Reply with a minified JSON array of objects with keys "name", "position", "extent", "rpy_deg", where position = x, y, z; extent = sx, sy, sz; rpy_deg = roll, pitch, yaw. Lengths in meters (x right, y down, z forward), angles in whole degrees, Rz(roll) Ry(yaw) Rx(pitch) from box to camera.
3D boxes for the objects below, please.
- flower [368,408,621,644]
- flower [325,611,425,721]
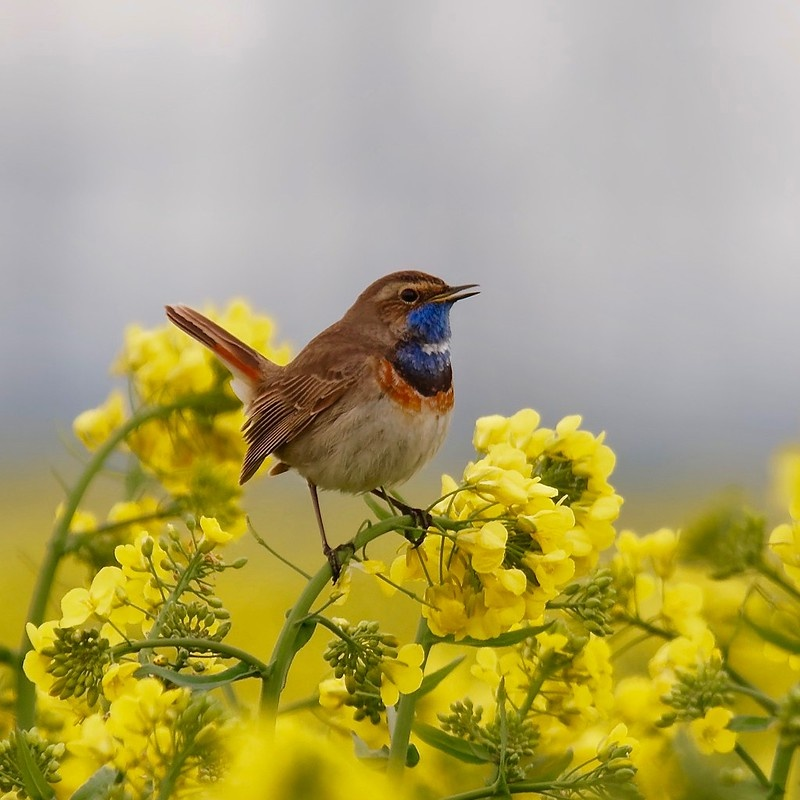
[{"name":"flower","position":[0.137,0.165,1.885],"extent":[0.344,0.224,0.346],"rpy_deg":[-21,-33,-2]},{"name":"flower","position":[-0.029,0.393,1.836],"extent":[0.117,0.089,0.199],"rpy_deg":[-12,-37,11]}]
